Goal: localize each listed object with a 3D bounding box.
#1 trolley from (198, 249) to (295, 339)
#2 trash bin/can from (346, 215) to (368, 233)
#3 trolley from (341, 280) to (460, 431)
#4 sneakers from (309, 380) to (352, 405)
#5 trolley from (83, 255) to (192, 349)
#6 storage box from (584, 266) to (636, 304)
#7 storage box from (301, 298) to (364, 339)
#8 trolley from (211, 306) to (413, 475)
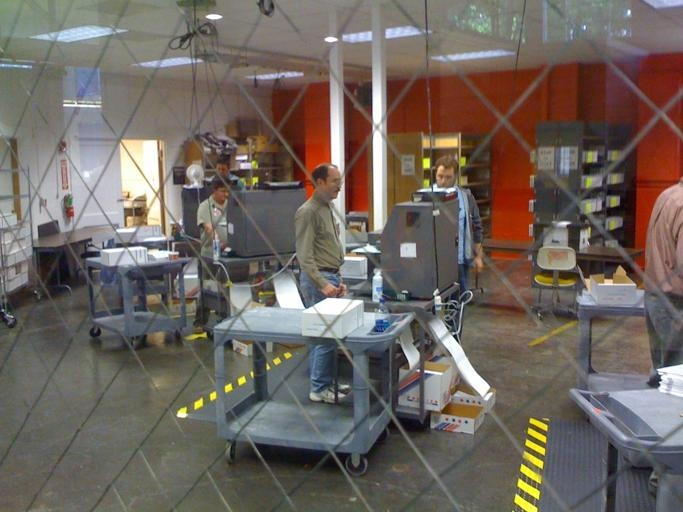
[{"bbox_3d":[-0.653,0.269,3.734,0.377,0.405,0.301,6,1,-11],"label":"trolley"},{"bbox_3d":[0.118,-0.241,4.440,0.172,0.198,0.232,0,-1,-2],"label":"trash bin/can"},{"bbox_3d":[0.378,0.437,2.760,0.693,0.727,0.561,-1,1,16],"label":"trolley"},{"bbox_3d":[-0.057,0.670,2.957,0.211,0.110,0.090,-5,21,3],"label":"sneakers"},{"bbox_3d":[-1.313,0.299,3.902,0.393,0.479,0.500,-7,12,-38],"label":"trolley"},{"bbox_3d":[1.262,0.121,2.791,0.240,0.143,0.265,-8,15,17],"label":"storage box"},{"bbox_3d":[-0.060,0.232,2.291,0.158,0.104,0.251,3,9,18],"label":"storage box"},{"bbox_3d":[-0.119,0.549,2.661,0.730,0.603,0.489,0,8,5],"label":"trolley"}]
